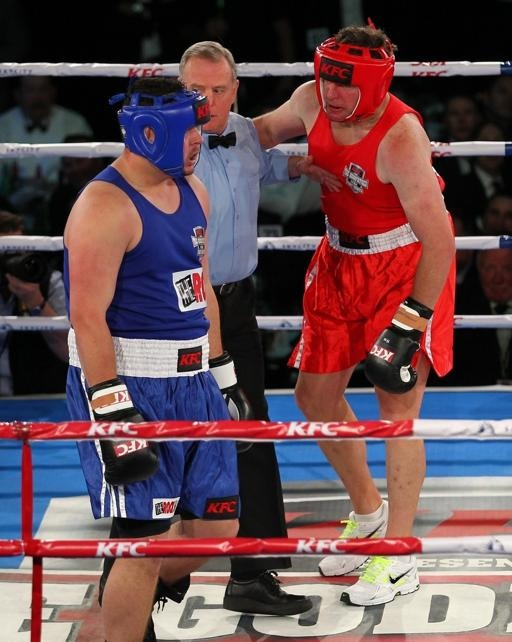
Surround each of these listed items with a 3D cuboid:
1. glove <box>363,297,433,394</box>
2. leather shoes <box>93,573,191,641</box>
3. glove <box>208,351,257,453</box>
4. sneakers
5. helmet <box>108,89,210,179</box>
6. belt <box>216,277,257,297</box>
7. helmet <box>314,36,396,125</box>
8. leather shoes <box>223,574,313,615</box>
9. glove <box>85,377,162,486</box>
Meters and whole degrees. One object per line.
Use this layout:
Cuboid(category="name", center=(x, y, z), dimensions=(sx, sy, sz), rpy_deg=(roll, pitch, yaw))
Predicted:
Cuboid(category="glove", center=(0.352, 0.062, 1.861), dimensions=(0.178, 0.218, 0.098), rpy_deg=(26, -14, -30))
Cuboid(category="leather shoes", center=(-0.221, 0.653, 1.787), dimensions=(0.218, 0.173, 0.265), rpy_deg=(10, -18, -29))
Cuboid(category="glove", center=(-0.060, 0.158, 1.757), dimensions=(0.071, 0.148, 0.117), rpy_deg=(-27, -20, 6))
Cuboid(category="sneakers", center=(0.338, 0.686, 2.172), dimensions=(0.293, 0.156, 0.402), rpy_deg=(-1, 12, -2))
Cuboid(category="helmet", center=(-0.188, -0.388, 1.512), dimensions=(0.218, 0.148, 0.158), rpy_deg=(5, 24, 9))
Cuboid(category="belt", center=(-0.071, -0.100, 2.208), dimensions=(0.124, 0.030, 0.085), rpy_deg=(-14, 4, 20))
Cuboid(category="helmet", center=(0.273, -0.642, 1.977), dimensions=(0.233, 0.176, 0.196), rpy_deg=(-19, 39, -29))
Cuboid(category="leather shoes", center=(0.025, 0.745, 2.034), dimensions=(0.299, 0.107, 0.087), rpy_deg=(1, -8, 2))
Cuboid(category="glove", center=(-0.231, 0.229, 1.327), dimensions=(0.115, 0.222, 0.178), rpy_deg=(-5, 14, -12))
